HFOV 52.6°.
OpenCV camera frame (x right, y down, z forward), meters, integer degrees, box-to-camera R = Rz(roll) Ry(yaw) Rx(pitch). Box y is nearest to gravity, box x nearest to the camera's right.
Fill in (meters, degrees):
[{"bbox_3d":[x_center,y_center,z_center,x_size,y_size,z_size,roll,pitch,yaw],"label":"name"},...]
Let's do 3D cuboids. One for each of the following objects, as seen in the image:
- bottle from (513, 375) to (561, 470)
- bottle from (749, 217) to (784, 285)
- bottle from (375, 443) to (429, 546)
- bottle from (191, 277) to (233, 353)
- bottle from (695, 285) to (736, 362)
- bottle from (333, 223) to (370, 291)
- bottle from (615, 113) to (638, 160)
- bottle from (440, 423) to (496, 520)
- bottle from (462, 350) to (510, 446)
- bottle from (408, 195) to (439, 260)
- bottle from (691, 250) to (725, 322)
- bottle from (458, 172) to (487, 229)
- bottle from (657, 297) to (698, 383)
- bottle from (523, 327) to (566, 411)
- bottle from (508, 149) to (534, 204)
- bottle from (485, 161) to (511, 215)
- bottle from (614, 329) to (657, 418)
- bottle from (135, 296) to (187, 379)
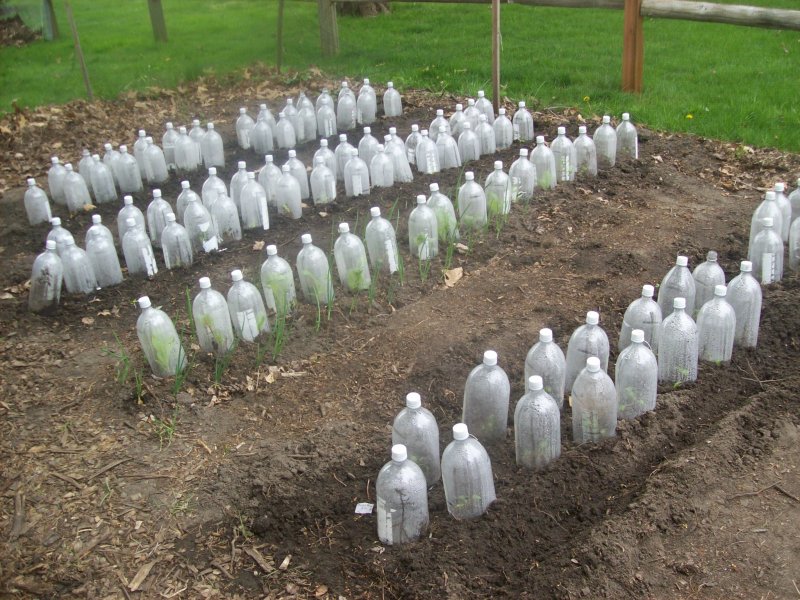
[{"bbox_3d":[0.813,0.703,4.828,0.289,0.555,0.306,-5,24,2],"label":"bottle"},{"bbox_3d":[2.762,-0.379,6.044,0.173,0.502,0.180,-12,28,6],"label":"bottle"},{"bbox_3d":[0.004,1.079,4.585,0.299,0.550,0.298,-2,28,1],"label":"bottle"},{"bbox_3d":[-1.281,0.115,5.542,0.264,0.537,0.320,-10,29,-16],"label":"bottle"},{"bbox_3d":[2.097,0.192,5.363,0.193,0.436,0.177,-1,27,1],"label":"bottle"},{"bbox_3d":[-0.358,-0.302,6.129,0.256,0.478,0.175,-2,27,-1],"label":"bottle"},{"bbox_3d":[2.207,-1.556,7.839,0.207,0.376,0.241,4,28,10],"label":"bottle"},{"bbox_3d":[0.400,1.006,4.576,0.288,0.456,0.170,-9,28,-13],"label":"bottle"},{"bbox_3d":[0.547,0.581,5.025,0.257,0.659,0.273,-2,39,1],"label":"bottle"},{"bbox_3d":[0.203,-0.557,6.441,0.250,0.461,0.205,-5,28,-7],"label":"bottle"},{"bbox_3d":[2.202,-0.155,5.772,0.225,0.531,0.244,-6,48,7],"label":"bottle"},{"bbox_3d":[0.635,-0.827,6.759,0.304,0.461,0.241,-9,29,-14],"label":"bottle"},{"bbox_3d":[1.820,0.259,5.259,0.308,0.605,0.325,-8,29,4],"label":"bottle"},{"bbox_3d":[0.926,0.426,5.103,0.243,0.497,0.239,-4,25,2],"label":"bottle"},{"bbox_3d":[1.095,-1.080,7.114,0.276,0.407,0.188,-7,28,-9],"label":"bottle"},{"bbox_3d":[0.854,-0.950,6.837,0.222,0.518,0.213,-1,27,1],"label":"bottle"},{"bbox_3d":[1.458,0.496,4.966,0.252,0.483,0.158,7,29,16],"label":"bottle"},{"bbox_3d":[-1.543,0.236,5.393,0.371,0.543,0.279,20,35,35],"label":"bottle"}]
